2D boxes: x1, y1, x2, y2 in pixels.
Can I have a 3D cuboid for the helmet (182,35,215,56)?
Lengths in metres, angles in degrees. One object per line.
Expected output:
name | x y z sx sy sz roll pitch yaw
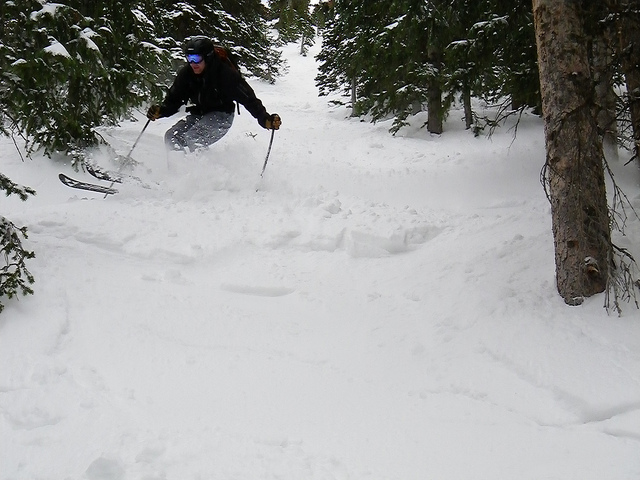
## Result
helmet | -1.938 -3.107 9.978 0.465 0.279 0.368 -6 23 -10

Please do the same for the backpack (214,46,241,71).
backpack | -1.589 -3.092 10.587 0.252 0.476 0.864 1 24 6

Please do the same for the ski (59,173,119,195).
ski | -3.686 -0.872 9.827 0.821 0.193 0.162 9 48 -17
